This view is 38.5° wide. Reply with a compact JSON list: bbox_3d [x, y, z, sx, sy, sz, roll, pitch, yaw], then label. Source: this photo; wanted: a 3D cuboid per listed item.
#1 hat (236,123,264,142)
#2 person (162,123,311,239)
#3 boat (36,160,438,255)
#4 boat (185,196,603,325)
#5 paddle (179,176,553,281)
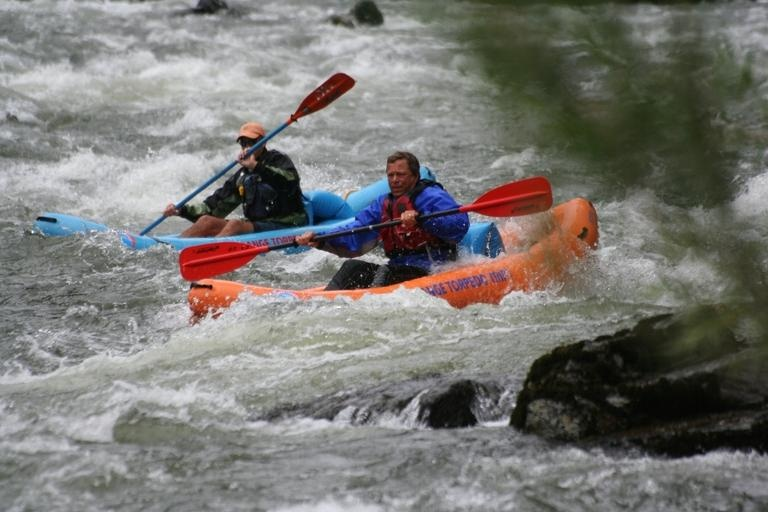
[{"bbox_3d":[-1.243,-1.170,10.279,0.219,0.119,0.269,-3,-9,15],"label":"hat"},{"bbox_3d":[-1.329,-0.630,10.239,1.691,1.051,0.912,-11,5,-27],"label":"person"},{"bbox_3d":[-1.007,-0.713,10.505,4.257,0.574,1.205,-8,4,-30],"label":"boat"},{"bbox_3d":[0.278,0.031,8.636,2.872,0.454,1.250,-11,0,-13],"label":"boat"},{"bbox_3d":[-0.186,-0.210,9.324,3.507,0.379,0.211,-9,-16,7],"label":"paddle"}]
